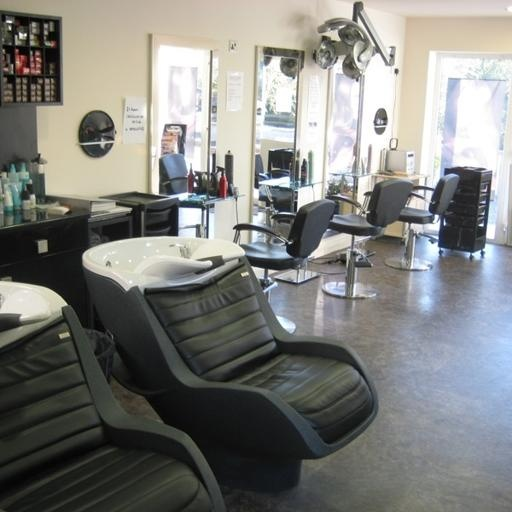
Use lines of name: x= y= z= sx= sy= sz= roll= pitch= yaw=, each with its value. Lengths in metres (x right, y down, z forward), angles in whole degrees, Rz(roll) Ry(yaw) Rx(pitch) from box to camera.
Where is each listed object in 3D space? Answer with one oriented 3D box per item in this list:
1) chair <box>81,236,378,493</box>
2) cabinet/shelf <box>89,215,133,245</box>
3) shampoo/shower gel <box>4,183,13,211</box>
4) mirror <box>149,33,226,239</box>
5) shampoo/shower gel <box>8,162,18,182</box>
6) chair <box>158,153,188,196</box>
chair: x=-0.064 y=0.377 z=1.977 sx=1.258 sy=0.951 sz=0.868 roll=14 pitch=19 yaw=31
cabinet/shelf: x=-0.939 y=-0.175 z=2.804 sx=0.093 sy=0.182 sz=0.178 roll=12 pitch=20 yaw=43
shampoo/shower gel: x=-1.416 y=-0.338 z=2.468 sx=0.045 sy=0.151 sz=0.088 roll=-5 pitch=16 yaw=-30
mirror: x=-0.575 y=-1.143 z=3.555 sx=0.134 sy=1.226 sz=0.720 roll=11 pitch=16 yaw=31
shampoo/shower gel: x=-1.430 y=-0.490 z=2.537 sx=0.049 sy=0.094 sz=0.060 roll=-6 pitch=17 yaw=-32
chair: x=-0.749 y=-0.710 z=3.694 sx=0.273 sy=0.370 sz=0.287 roll=15 pitch=23 yaw=40
